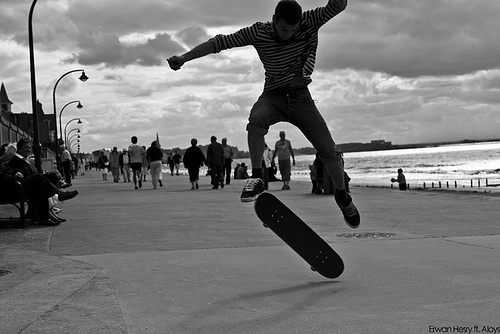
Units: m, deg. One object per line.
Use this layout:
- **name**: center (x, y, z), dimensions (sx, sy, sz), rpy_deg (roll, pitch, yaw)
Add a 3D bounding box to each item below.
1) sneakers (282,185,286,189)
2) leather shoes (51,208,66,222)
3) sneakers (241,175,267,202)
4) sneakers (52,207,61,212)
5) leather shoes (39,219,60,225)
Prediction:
- **sneakers**: center (1.349, 0.801, 18.936), dimensions (0.120, 0.148, 0.041), rpy_deg (-5, -13, 17)
- **leather shoes**: center (-3.679, 0.894, 9.144), dimensions (0.273, 0.218, 0.651), rpy_deg (7, 1, -20)
- **sneakers**: center (0.030, 0.225, 5.105), dimensions (0.189, 0.247, 0.617), rpy_deg (-10, 4, 17)
- **sneakers**: center (-3.992, 0.879, 9.811), dimensions (0.183, 0.070, 0.182), rpy_deg (12, 15, -18)
- **leather shoes**: center (-3.595, 0.981, 8.586), dimensions (0.163, 0.125, 0.393), rpy_deg (-3, -2, 31)
